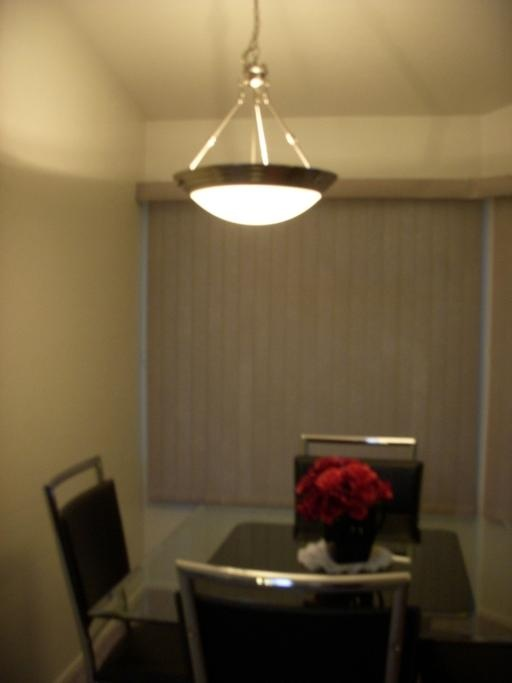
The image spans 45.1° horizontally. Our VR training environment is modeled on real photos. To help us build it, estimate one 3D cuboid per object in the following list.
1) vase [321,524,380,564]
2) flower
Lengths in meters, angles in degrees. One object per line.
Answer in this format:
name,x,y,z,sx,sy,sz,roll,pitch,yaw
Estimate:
vase,0.207,0.437,1.340,0.085,0.080,0.105,-3,-15,11
flower,0.194,0.334,1.402,0.220,0.128,0.230,-2,-3,2
